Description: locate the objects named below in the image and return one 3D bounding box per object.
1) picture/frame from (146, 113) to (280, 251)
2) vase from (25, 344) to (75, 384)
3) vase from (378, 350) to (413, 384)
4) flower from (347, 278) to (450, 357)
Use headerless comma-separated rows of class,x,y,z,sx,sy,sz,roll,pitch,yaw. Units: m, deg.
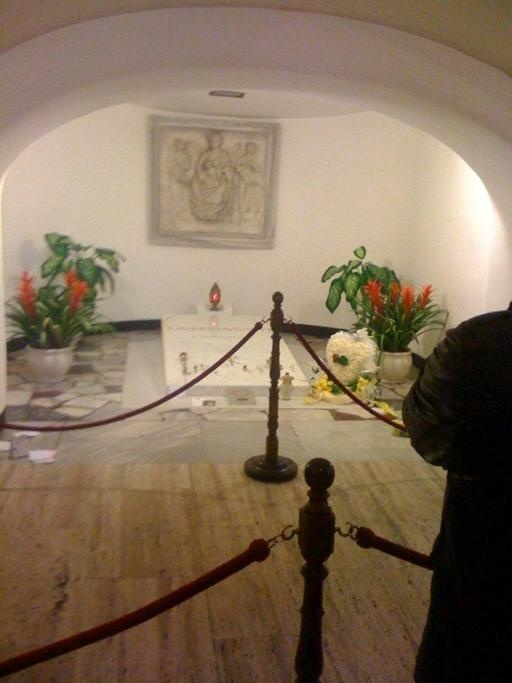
picture/frame,-0.692,-2.437,7.410,2.236,1.841,0.216,0,11,-5
vase,-2.288,0.236,5.525,0.484,0.294,0.448,0,3,-19
vase,1.561,0.288,5.837,0.436,0.327,0.407,4,20,10
flower,1.687,-0.280,6.082,1.042,0.653,0.984,14,31,24
